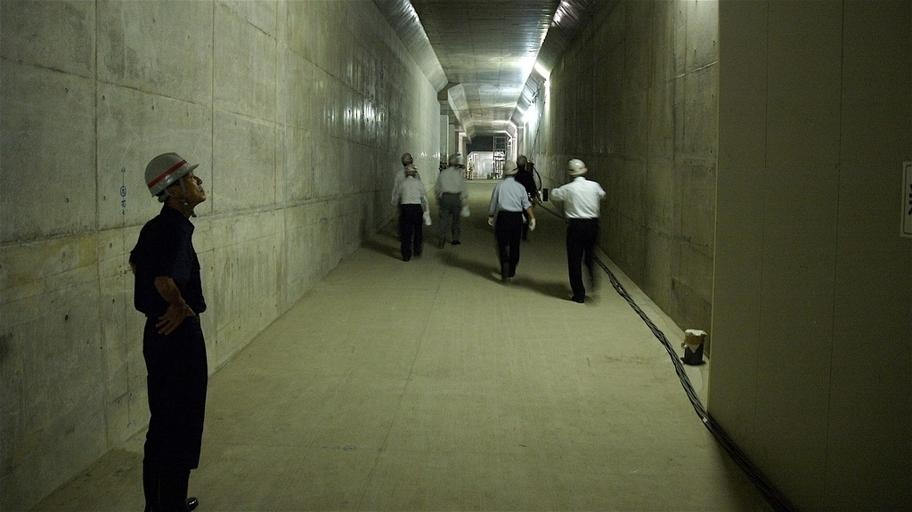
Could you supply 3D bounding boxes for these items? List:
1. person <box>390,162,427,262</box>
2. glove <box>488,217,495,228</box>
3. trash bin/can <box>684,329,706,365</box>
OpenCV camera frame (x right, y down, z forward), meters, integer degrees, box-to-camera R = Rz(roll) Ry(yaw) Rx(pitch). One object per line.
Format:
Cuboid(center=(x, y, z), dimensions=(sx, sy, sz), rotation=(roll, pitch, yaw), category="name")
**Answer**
Cuboid(center=(-0.992, -0.993, 15.532), dimensions=(0.755, 2.029, 1.209), rotation=(2, 10, -6), category="person")
Cuboid(center=(0.889, -0.861, 18.464), dimensions=(0.225, 0.266, 0.276), rotation=(-2, 3, 0), category="glove")
Cuboid(center=(3.164, 1.226, 9.587), dimensions=(0.362, 0.431, 0.346), rotation=(1, 7, 9), category="trash bin/can")
